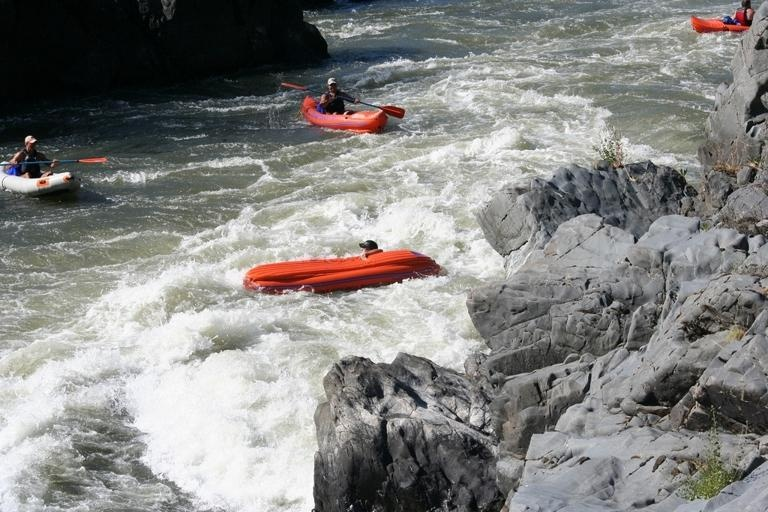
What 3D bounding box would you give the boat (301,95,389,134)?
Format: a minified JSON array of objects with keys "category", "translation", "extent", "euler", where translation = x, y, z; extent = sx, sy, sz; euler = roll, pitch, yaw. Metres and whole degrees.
[{"category":"boat","translation":[-1.448,-4.478,37.184],"extent":[3.574,0.769,1.075],"euler":[13,37,40]}]
